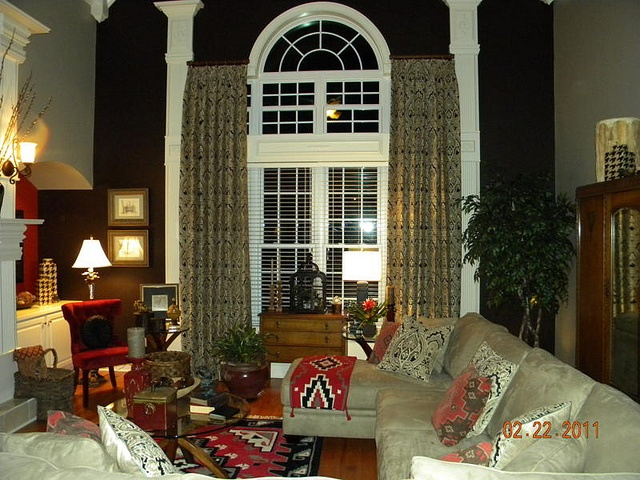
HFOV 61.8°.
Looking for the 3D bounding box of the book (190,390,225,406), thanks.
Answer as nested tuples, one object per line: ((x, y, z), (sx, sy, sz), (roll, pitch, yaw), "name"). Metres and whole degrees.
((-0.957, 1.333, 4.500), (0.258, 0.062, 0.261), (0, -3, 17), "book")

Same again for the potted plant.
((-0.916, 1.333, 6.168), (0.749, 0.910, 0.741), (1, -4, -16), "potted plant")

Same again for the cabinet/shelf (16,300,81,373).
((-3.077, 1.078, 6.009), (0.330, 0.795, 0.945), (-3, -2, 12), "cabinet/shelf")

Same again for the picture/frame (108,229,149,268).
((-2.466, 0.107, 6.896), (0.482, 0.486, 0.036), (0, 0, 1), "picture/frame")

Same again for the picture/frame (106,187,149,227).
((-2.477, -0.421, 6.899), (0.502, 0.475, 0.036), (0, 2, 6), "picture/frame")

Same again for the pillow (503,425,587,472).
((1.254, 1.188, 2.961), (0.280, 0.083, 0.248), (-22, -7, -5), "pillow")

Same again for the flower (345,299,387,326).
((0.524, 0.798, 6.030), (0.335, 0.219, 0.336), (-1, -4, 13), "flower")

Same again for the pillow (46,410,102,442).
((-1.489, 1.117, 3.232), (0.241, 0.073, 0.229), (20, -2, 40), "pillow")

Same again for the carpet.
((-0.743, 1.646, 4.260), (0.847, 0.004, 0.967), (1, 3, 16), "carpet")

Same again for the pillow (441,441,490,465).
((0.885, 1.287, 3.241), (0.297, 0.110, 0.150), (0, -3, 13), "pillow")

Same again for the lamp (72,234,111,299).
((-2.864, 0.363, 6.742), (0.428, 0.809, 0.653), (2, -3, -22), "lamp")

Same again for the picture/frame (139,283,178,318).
((-1.934, 0.734, 6.367), (0.384, 0.384, 0.028), (1, -5, -9), "picture/frame")

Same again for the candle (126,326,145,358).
((-1.447, 0.818, 4.202), (0.123, 0.239, 0.086), (2, -4, -27), "candle")

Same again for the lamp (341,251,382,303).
((0.492, 0.424, 6.296), (0.544, 0.548, 0.529), (0, 0, 5), "lamp")

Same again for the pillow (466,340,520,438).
((1.227, 1.113, 3.933), (0.165, 0.553, 0.473), (22, 8, -17), "pillow")
